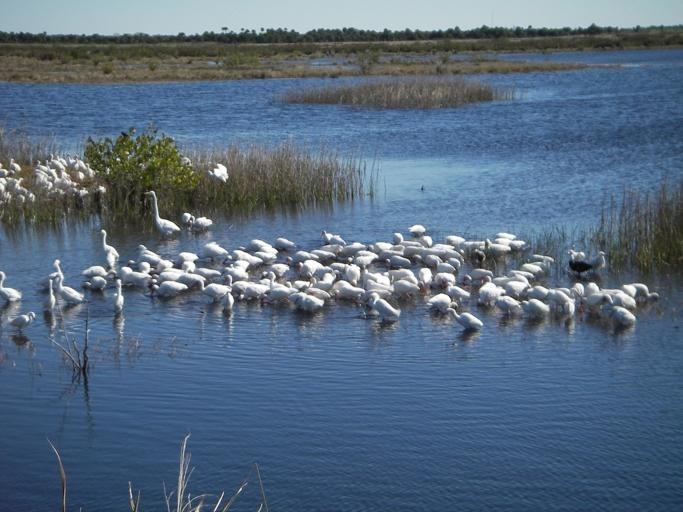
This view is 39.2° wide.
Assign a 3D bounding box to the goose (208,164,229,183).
[{"bbox_3d":[-3.974,-2.836,32.796,0.690,0.631,1.223,0,6,-8],"label":"goose"}]

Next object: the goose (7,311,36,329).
[{"bbox_3d":[-6.891,1.434,21.490,0.540,0.373,0.698,-1,6,-17],"label":"goose"}]

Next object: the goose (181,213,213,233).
[{"bbox_3d":[-4.196,-1.041,29.418,0.469,0.681,1.117,-10,20,-37],"label":"goose"}]
